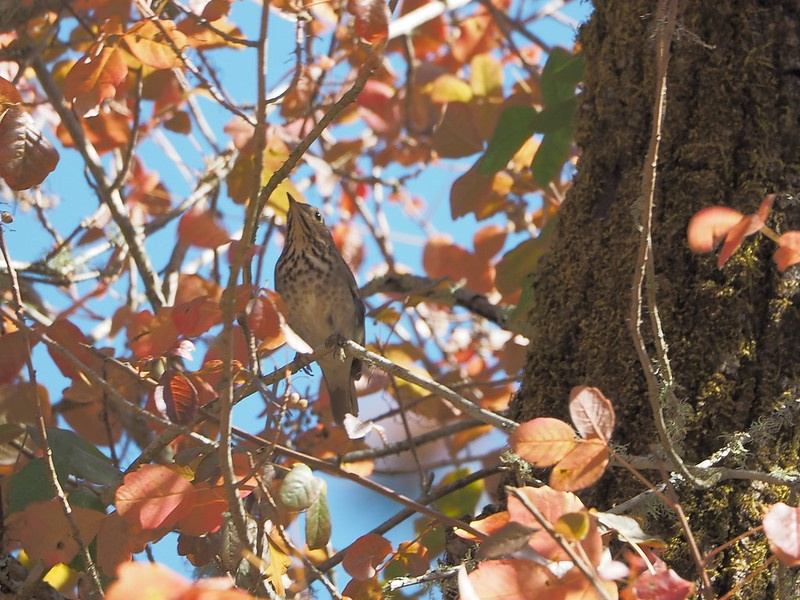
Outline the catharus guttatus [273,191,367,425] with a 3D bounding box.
[{"bbox_3d":[-0.362,0.061,7.350,0.378,0.489,1.137,-16,-60,4],"label":"catharus guttatus"}]
